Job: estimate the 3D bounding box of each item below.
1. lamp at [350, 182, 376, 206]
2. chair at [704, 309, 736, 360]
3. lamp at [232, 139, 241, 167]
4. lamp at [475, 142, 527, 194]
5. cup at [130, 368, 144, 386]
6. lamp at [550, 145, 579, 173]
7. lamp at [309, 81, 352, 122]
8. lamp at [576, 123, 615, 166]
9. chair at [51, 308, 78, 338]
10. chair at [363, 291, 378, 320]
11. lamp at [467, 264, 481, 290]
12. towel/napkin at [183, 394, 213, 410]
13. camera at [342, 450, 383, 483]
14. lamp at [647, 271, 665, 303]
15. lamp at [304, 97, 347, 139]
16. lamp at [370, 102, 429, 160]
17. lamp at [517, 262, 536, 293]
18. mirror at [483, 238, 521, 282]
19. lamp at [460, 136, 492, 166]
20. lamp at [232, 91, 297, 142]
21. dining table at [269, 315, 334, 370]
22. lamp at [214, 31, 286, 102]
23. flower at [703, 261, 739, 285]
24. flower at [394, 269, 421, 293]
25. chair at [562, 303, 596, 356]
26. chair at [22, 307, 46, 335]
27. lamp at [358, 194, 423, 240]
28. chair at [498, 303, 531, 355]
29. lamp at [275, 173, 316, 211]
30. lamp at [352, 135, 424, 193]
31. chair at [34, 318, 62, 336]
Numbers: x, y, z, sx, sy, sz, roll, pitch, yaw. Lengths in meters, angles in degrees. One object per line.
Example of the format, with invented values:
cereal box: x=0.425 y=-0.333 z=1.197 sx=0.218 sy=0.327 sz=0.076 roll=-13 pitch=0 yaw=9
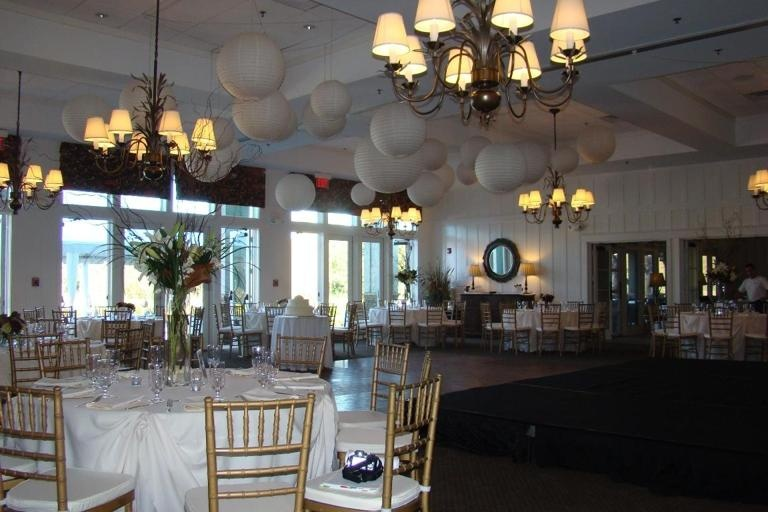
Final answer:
lamp: x=-0.485 y=-1.217 z=12.202 sx=0.543 sy=0.586 sz=0.305 roll=6 pitch=-1 yaw=-28
chair: x=6.671 y=1.564 z=11.901 sx=0.559 sy=0.981 sz=0.982 roll=-5 pitch=-5 yaw=30
lamp: x=-2.251 y=-1.539 z=8.958 sx=0.126 sy=0.391 sz=0.578 roll=-1 pitch=-6 yaw=-15
lamp: x=1.567 y=-1.131 z=8.140 sx=0.646 sy=0.681 sz=0.602 roll=0 pitch=2 yaw=-2
cup: x=-2.457 y=1.200 z=5.921 sx=0.173 sy=0.153 sz=0.146 roll=-7 pitch=-8 yaw=34
lamp: x=3.210 y=-1.728 z=10.644 sx=0.389 sy=0.535 sz=0.721 roll=-4 pitch=-5 yaw=15
lamp: x=-0.650 y=-1.878 z=7.255 sx=0.449 sy=0.505 sz=0.443 roll=-1 pitch=6 yaw=-11
lamp: x=3.151 y=-1.621 z=9.087 sx=0.560 sy=0.615 sz=0.596 roll=1 pitch=-4 yaw=-1
chair: x=-5.549 y=1.165 z=10.312 sx=0.375 sy=0.715 sz=0.420 roll=2 pitch=-5 yaw=-27
chair: x=-0.428 y=1.413 z=17.773 sx=0.519 sy=0.961 sz=0.552 roll=1 pitch=2 yaw=-1
lamp: x=2.657 y=0.619 z=17.763 sx=0.420 sy=0.809 sz=0.350 roll=-6 pitch=-5 yaw=35
towel/napkin: x=-1.590 y=1.239 z=5.068 sx=0.217 sy=0.066 sz=0.228 roll=5 pitch=0 yaw=-6
camera: x=-0.176 y=1.704 z=4.831 sx=0.280 sy=0.194 sz=0.389 roll=3 pitch=-3 yaw=-4
lamp: x=8.277 y=0.947 z=18.087 sx=0.360 sy=0.914 sz=0.622 roll=-5 pitch=-5 yaw=36
lamp: x=-0.796 y=-1.682 z=7.837 sx=0.429 sy=0.551 sz=0.462 roll=-4 pitch=38 yaw=-5
lamp: x=0.153 y=-1.389 z=6.705 sx=0.594 sy=0.670 sz=0.557 roll=0 pitch=-2 yaw=-7
lamp: x=4.046 y=0.584 z=16.698 sx=0.465 sy=0.882 sz=0.315 roll=-4 pitch=-4 yaw=24
mirror: x=3.431 y=0.131 z=17.254 sx=0.084 sy=1.211 sz=1.093 roll=1 pitch=2 yaw=-42
lamp: x=1.375 y=-1.587 z=9.224 sx=0.420 sy=0.534 sz=0.433 roll=4 pitch=-8 yaw=-23
lamp: x=-1.449 y=-1.610 z=7.298 sx=0.512 sy=0.568 sz=0.722 roll=-1 pitch=2 yaw=-3
dining table: x=-1.594 y=1.502 z=11.788 sx=1.244 sy=1.032 sz=1.321 roll=2 pitch=-5 yaw=-8
lamp: x=-1.427 y=-2.007 z=6.388 sx=0.644 sy=0.822 sz=0.655 roll=6 pitch=18 yaw=18
flower: x=8.126 y=0.431 z=14.479 sx=0.473 sy=0.420 sz=0.469 roll=-9 pitch=-38 yaw=44
flower: x=0.650 y=0.720 z=17.238 sx=0.592 sy=0.668 sz=0.627 roll=0 pitch=-6 yaw=-1
chair: x=4.576 y=1.662 z=13.950 sx=0.670 sy=1.123 sz=1.416 roll=-6 pitch=-6 yaw=34
chair: x=-6.007 y=1.120 z=10.192 sx=0.293 sy=0.582 sz=0.338 roll=4 pitch=-8 yaw=-38
lamp: x=0.066 y=-0.954 z=14.460 sx=1.291 sy=1.871 sz=1.298 roll=-2 pitch=2 yaw=2
chair: x=3.132 y=1.707 z=14.183 sx=0.861 sy=1.489 sz=0.749 roll=-5 pitch=6 yaw=-39
lamp: x=-1.700 y=-1.169 z=11.389 sx=0.672 sy=0.759 sz=0.391 roll=2 pitch=5 yaw=-7
lamp: x=0.060 y=-1.058 z=7.396 sx=0.627 sy=0.821 sz=0.662 roll=3 pitch=6 yaw=29
chair: x=-5.386 y=1.139 z=9.522 sx=0.215 sy=0.179 sz=0.230 roll=3 pitch=2 yaw=13
